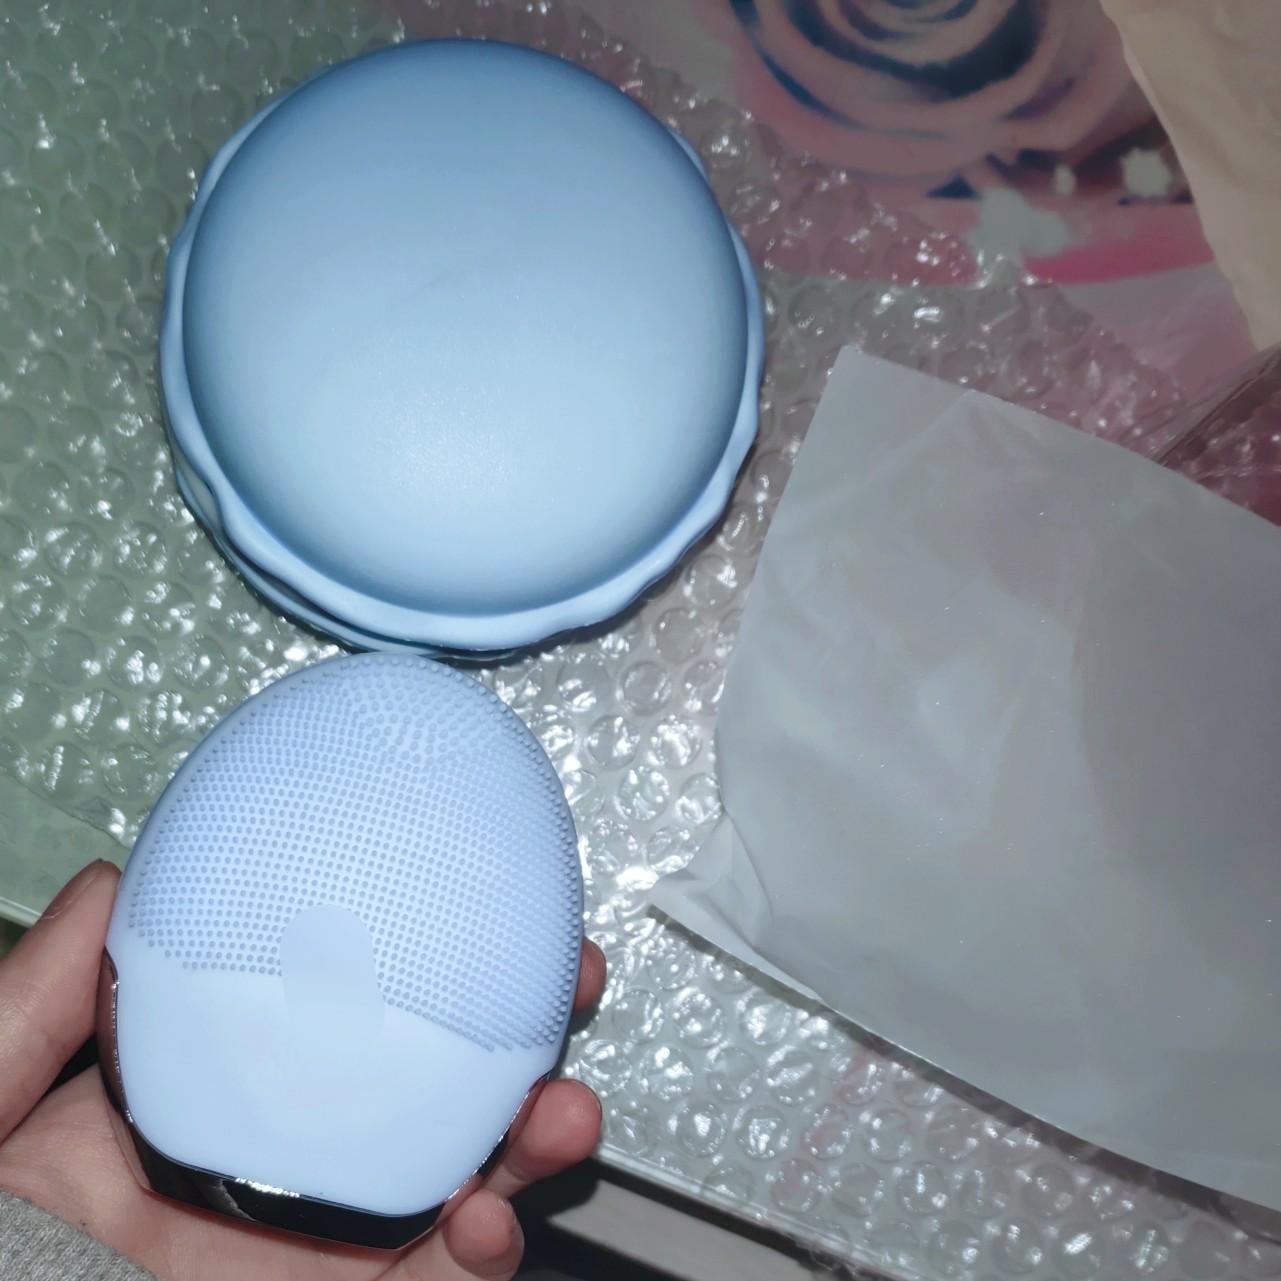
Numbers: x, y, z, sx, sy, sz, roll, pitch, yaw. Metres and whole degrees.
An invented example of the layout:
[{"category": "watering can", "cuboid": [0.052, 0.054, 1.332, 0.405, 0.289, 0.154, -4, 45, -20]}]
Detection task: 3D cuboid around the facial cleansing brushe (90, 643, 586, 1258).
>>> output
[{"category": "facial cleansing brushe", "cuboid": [-0.109, 0.101, 0.481, 0.165, 0.058, 0.188, -1, 71, -2]}]
